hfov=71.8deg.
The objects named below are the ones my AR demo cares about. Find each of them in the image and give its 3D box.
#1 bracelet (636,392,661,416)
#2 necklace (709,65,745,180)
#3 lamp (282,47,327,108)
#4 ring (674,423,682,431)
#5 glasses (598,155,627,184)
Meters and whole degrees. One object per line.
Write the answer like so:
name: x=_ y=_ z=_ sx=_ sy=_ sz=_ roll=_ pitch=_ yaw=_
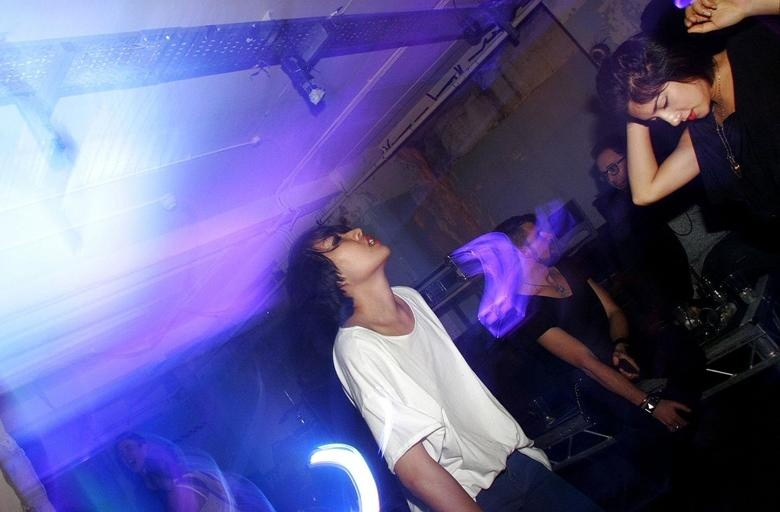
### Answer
bracelet: x=2.167 y=1.243 z=4.550 sx=0.182 sy=0.115 sz=0.173 roll=-61 pitch=-25 yaw=-6
necklace: x=2.625 y=-1.000 z=4.243 sx=0.200 sy=0.831 sz=0.050 roll=-24 pitch=21 yaw=3
lamp: x=-0.859 y=-1.603 z=4.945 sx=0.135 sy=0.529 sz=0.293 roll=-41 pitch=27 yaw=39
ring: x=2.381 y=1.420 z=4.484 sx=0.071 sy=0.050 sz=0.019 roll=-34 pitch=33 yaw=31
glasses: x=2.240 y=-0.869 z=5.423 sx=0.197 sy=0.061 sz=0.195 roll=-31 pitch=-1 yaw=-25
